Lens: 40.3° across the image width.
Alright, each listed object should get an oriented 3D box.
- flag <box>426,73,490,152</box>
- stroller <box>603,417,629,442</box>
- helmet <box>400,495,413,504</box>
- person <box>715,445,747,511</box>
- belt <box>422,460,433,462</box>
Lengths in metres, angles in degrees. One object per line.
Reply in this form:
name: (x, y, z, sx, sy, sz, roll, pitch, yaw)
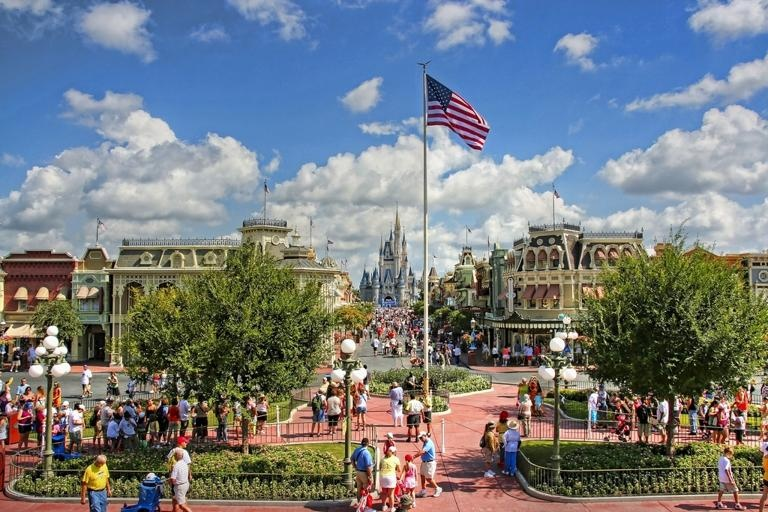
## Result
flag: (4.007, -7.971, 58.255, 3.147, 4.370, 0.776, -1, -9, 5)
stroller: (12.287, 9.087, 54.830, 1.302, 1.367, 1.053, 3, -8, 4)
helmet: (0.965, 10.462, 44.946, 0.481, 0.394, 0.662, 1, -8, -3)
person: (16.080, 10.282, 48.528, 1.356, 2.664, 1.174, -1, 0, 0)
belt: (2.084, 9.604, 48.987, 0.457, 0.108, 0.119, 0, -9, 1)
